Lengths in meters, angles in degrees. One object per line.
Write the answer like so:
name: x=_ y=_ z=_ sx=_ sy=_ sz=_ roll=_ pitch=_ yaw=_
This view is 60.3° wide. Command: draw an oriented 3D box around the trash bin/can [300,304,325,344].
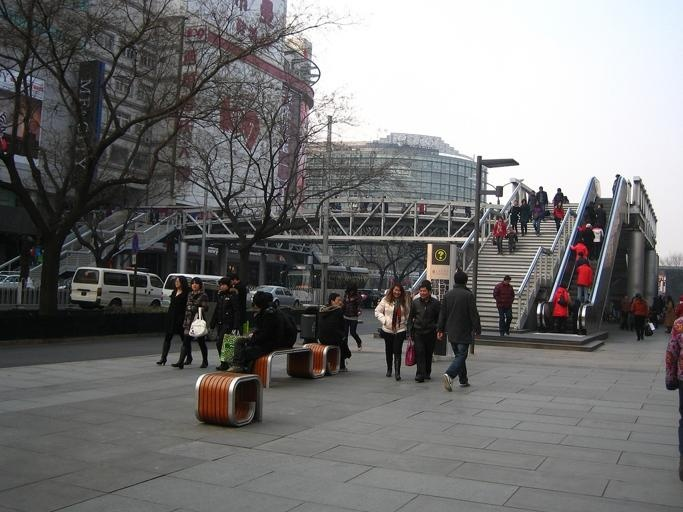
trash bin/can: x=-0.687 y=1.635 z=14.001 sx=0.667 sy=1.400 sz=1.028 roll=1 pitch=-3 yaw=-3

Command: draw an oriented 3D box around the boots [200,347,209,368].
boots: x=-3.212 y=2.359 z=13.805 sx=0.169 sy=0.467 sz=0.460 roll=1 pitch=-1 yaw=-13

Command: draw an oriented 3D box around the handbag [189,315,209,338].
handbag: x=-3.149 y=1.561 z=12.974 sx=0.490 sy=0.445 sz=0.395 roll=1 pitch=-1 yaw=5

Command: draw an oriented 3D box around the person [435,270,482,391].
person: x=2.259 y=1.411 z=11.332 sx=0.773 sy=2.268 sz=0.718 roll=1 pitch=-1 yaw=10

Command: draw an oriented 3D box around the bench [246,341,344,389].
bench: x=-0.806 y=2.243 z=12.514 sx=0.645 sy=0.726 sz=2.981 roll=0 pitch=-2 yaw=27

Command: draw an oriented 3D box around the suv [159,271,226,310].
suv: x=-7.965 y=2.206 z=32.723 sx=3.725 sy=2.231 sz=1.938 roll=5 pitch=-1 yaw=-22

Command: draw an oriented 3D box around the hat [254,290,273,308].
hat: x=-1.375 y=0.765 z=10.310 sx=0.251 sy=0.371 sz=0.334 roll=4 pitch=-25 yaw=8

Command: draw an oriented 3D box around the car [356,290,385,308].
car: x=3.161 y=3.981 z=56.834 sx=1.855 sy=1.608 sz=4.397 roll=0 pitch=5 yaw=20

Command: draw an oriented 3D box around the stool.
stool: x=-1.597 y=2.058 z=8.535 sx=0.583 sy=0.774 sz=0.856 roll=1 pitch=-2 yaw=23

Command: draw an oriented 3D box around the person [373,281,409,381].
person: x=1.129 y=1.615 z=12.913 sx=0.669 sy=2.078 sz=1.398 roll=1 pitch=-1 yaw=5

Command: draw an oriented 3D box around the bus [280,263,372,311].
bus: x=-0.814 y=2.942 z=61.918 sx=3.157 sy=4.511 sz=14.154 roll=0 pitch=-2 yaw=26

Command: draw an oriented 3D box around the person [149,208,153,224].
person: x=-18.719 y=-3.936 z=58.214 sx=0.384 sy=1.406 sz=1.833 roll=1 pitch=-2 yaw=-17

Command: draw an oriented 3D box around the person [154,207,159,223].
person: x=-18.205 y=-3.958 z=58.190 sx=0.433 sy=1.335 sz=1.209 roll=2 pitch=-2 yaw=-25

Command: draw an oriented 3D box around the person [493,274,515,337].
person: x=5.805 y=1.748 z=21.042 sx=0.636 sy=2.134 sz=1.450 roll=1 pitch=-1 yaw=16

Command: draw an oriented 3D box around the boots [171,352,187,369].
boots: x=-3.750 y=2.399 z=13.639 sx=0.303 sy=0.355 sz=0.791 roll=2 pitch=-2 yaw=-19

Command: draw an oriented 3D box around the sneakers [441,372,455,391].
sneakers: x=2.020 y=2.376 z=11.092 sx=0.133 sy=0.359 sz=0.219 roll=1 pitch=-1 yaw=20
